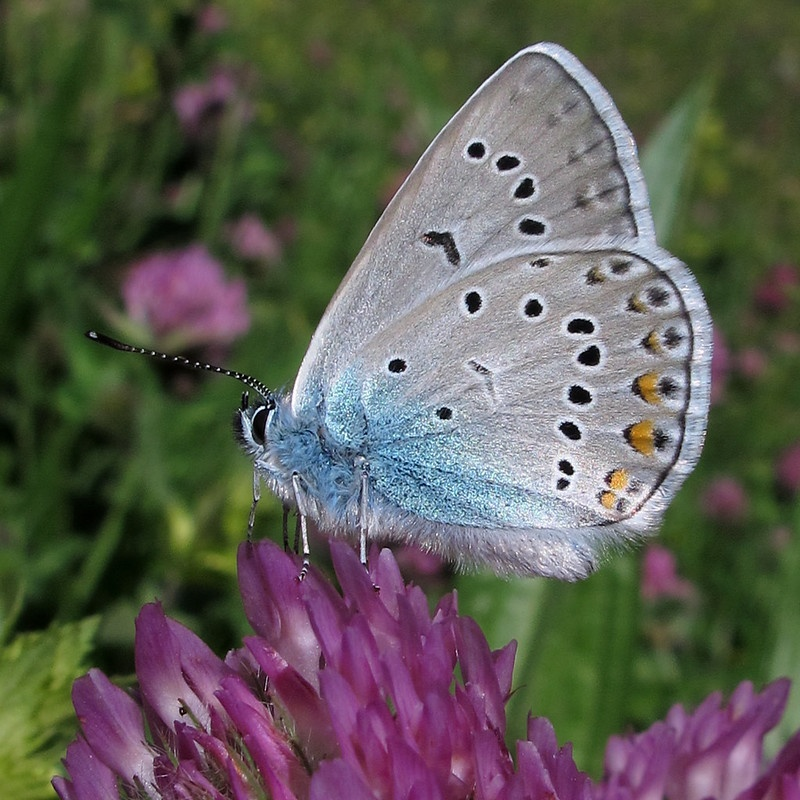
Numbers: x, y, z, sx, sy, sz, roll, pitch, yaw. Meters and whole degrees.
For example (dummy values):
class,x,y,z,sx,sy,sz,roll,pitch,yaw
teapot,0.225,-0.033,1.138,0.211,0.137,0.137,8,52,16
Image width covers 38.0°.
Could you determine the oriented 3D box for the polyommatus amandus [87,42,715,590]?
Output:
class,x,y,z,sx,sy,sz,roll,pitch,yaw
polyommatus amandus,0.000,-0.070,1.478,0.637,0.618,0.498,-2,90,-2
